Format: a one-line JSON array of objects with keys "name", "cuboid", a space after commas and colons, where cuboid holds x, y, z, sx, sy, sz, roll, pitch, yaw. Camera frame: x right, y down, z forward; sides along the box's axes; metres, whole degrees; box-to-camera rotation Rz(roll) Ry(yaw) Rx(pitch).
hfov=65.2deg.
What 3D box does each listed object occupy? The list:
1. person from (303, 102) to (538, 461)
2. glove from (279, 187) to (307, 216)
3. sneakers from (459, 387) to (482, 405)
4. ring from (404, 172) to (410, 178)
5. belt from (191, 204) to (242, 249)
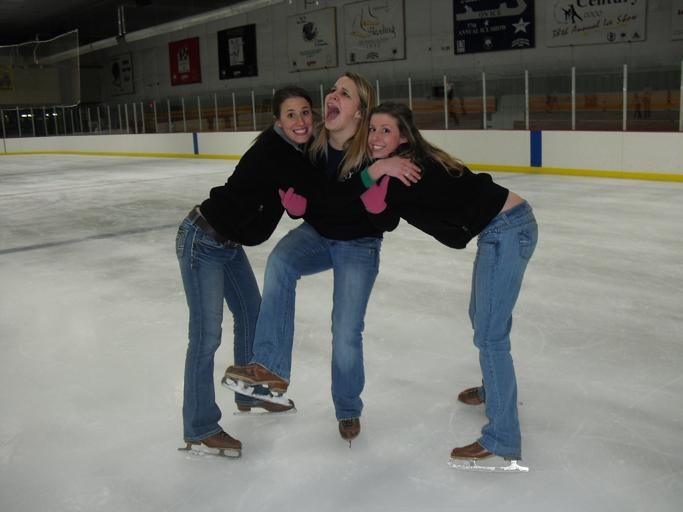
[{"name": "person", "cuboid": [0.484, 0.121, 2.329, 0.661, 1.590, 0.325, 1, 12, 22]}, {"name": "glove", "cuboid": [-0.219, -0.246, 2.491, 0.123, 0.147, 0.207, -4, 10, -3]}, {"name": "sneakers", "cuboid": [0.688, 0.751, 2.835, 0.122, 0.086, 0.052, 0, -17, 18]}, {"name": "ring", "cuboid": [0.270, -0.329, 2.194, 0.018, 0.020, 0.026, -6, 11, -18]}, {"name": "belt", "cuboid": [-0.554, -0.129, 2.462, 0.184, 0.055, 0.198, 39, -5, 29]}]
